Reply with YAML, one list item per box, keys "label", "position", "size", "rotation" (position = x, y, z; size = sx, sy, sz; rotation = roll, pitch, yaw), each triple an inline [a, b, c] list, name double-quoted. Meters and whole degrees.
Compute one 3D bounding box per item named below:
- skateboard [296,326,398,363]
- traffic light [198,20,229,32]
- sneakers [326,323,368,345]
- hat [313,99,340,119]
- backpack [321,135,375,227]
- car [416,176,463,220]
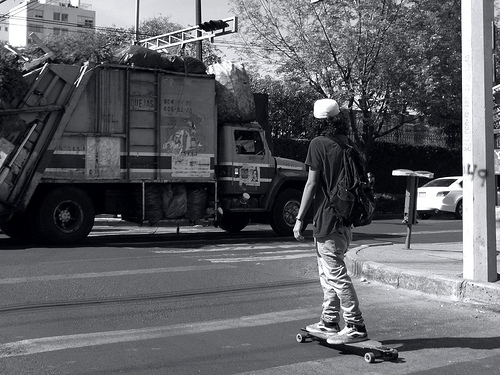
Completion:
- label: "skateboard"
  position: [0.953, 1.556, 4.960]
  size: [0.927, 0.147, 0.337]
  rotation: [2, 2, 43]
- label: "traffic light"
  position: [-1.431, -6.000, 18.593]
  size: [1.126, 0.407, 0.717]
  rotation: [2, 2, 12]
- label: "sneakers"
  position: [0.970, 1.464, 5.027]
  size: [0.458, 0.243, 0.169]
  rotation: [0, -2, 3]
- label: "hat"
  position: [0.808, -0.807, 5.211]
  size: [0.206, 0.145, 0.218]
  rotation: [3, 8, 31]
- label: "backpack"
  position: [1.025, -0.064, 5.096]
  size: [0.534, 0.931, 0.312]
  rotation: [-1, 3, -35]
- label: "car"
  position: [7.600, 0.458, 20.133]
  size: [2.997, 1.414, 1.446]
  rotation: [-6, 2, -44]
